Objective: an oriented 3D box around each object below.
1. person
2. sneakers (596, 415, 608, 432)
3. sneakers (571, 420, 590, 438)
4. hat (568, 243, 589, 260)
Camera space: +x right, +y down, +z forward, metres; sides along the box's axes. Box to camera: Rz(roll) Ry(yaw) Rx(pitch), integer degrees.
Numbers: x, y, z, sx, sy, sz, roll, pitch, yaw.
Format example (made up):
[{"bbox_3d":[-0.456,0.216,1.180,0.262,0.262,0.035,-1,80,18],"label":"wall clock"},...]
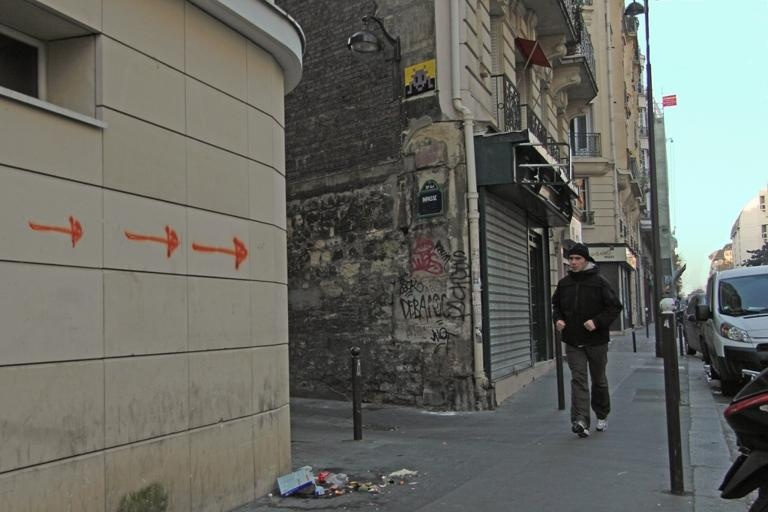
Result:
[{"bbox_3d":[2.650,1.051,9.977,0.818,2.499,0.659,-5,-9,13],"label":"person"},{"bbox_3d":[2.864,2.211,10.064,0.089,0.131,0.285,-3,-11,24],"label":"sneakers"},{"bbox_3d":[2.493,2.169,9.734,0.164,0.204,0.239,6,5,21],"label":"sneakers"},{"bbox_3d":[2.913,-0.080,11.536,0.256,0.198,0.418,0,-22,17],"label":"hat"}]
